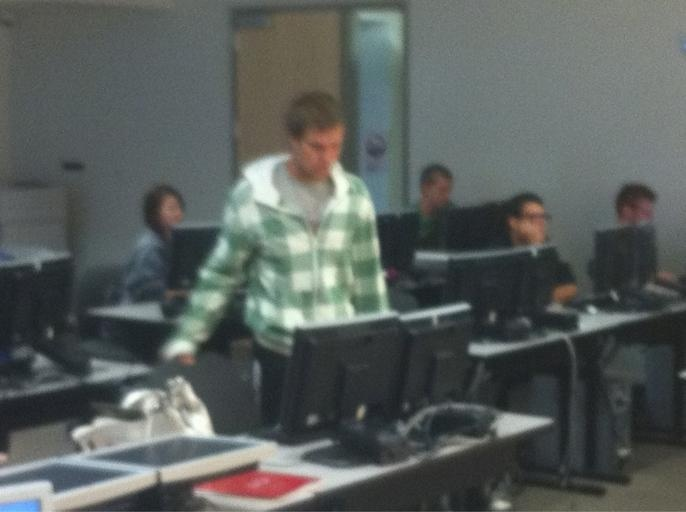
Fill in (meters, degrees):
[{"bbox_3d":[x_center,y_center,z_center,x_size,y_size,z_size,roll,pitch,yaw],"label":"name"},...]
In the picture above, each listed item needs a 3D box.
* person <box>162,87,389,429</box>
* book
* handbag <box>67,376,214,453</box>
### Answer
[{"bbox_3d":[-0.217,0.008,2.216,0.716,1.095,0.165,-1,2,-4],"label":"person"},{"bbox_3d":[-0.196,0.527,1.540,0.250,0.033,0.135,-1,0,17],"label":"book"},{"bbox_3d":[-0.534,0.469,1.778,0.311,0.111,0.220,-17,2,-8],"label":"handbag"}]
